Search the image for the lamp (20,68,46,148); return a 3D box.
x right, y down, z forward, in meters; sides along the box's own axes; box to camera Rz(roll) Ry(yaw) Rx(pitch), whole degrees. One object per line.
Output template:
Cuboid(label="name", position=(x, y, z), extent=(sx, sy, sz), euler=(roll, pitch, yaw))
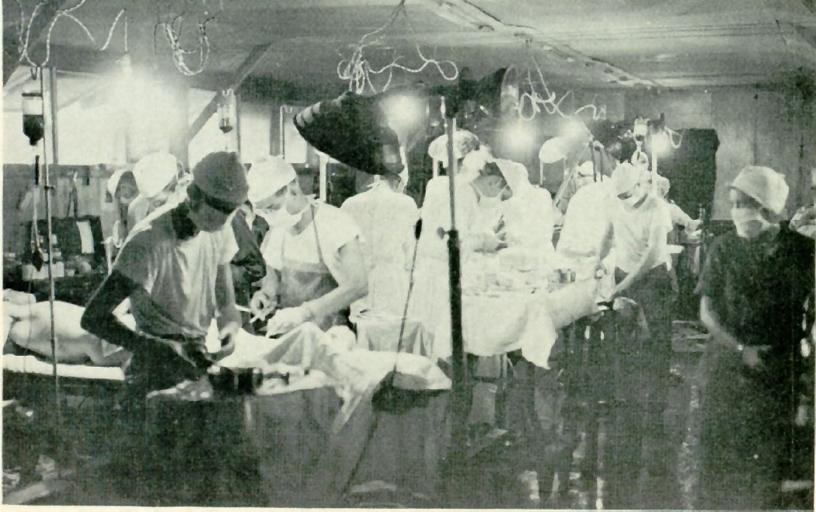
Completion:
Cuboid(label="lamp", position=(-2.393, -0.938, 7.366), extent=(0.150, 0.495, 0.053), euler=(-1, -4, 11))

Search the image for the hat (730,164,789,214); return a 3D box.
Cuboid(label="hat", position=(2.275, -0.444, 7.445), extent=(0.340, 0.186, 0.286), euler=(29, 4, -13))

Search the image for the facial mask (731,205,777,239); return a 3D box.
Cuboid(label="facial mask", position=(2.184, -0.204, 7.359), extent=(0.232, 0.187, 0.041), euler=(1, -4, -14))

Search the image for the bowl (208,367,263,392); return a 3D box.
Cuboid(label="bowl", position=(-1.102, 0.809, 7.378), extent=(0.344, 0.169, 0.066), euler=(0, -4, -9))

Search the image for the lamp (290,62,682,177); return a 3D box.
Cuboid(label="lamp", position=(0.453, -0.844, 7.360), extent=(2.344, 0.739, 0.587), euler=(1, 9, -4))

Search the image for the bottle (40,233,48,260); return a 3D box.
Cuboid(label="bottle", position=(-2.334, -0.054, 7.384), extent=(0.071, 0.147, 0.033), euler=(1, 0, 9))
